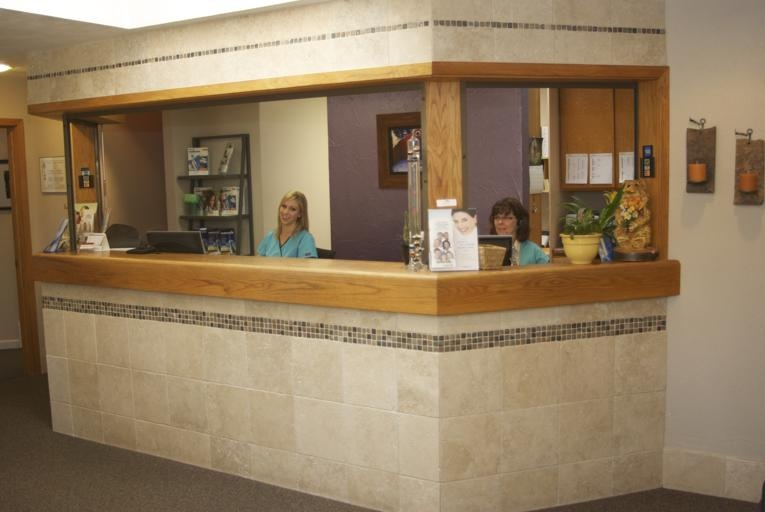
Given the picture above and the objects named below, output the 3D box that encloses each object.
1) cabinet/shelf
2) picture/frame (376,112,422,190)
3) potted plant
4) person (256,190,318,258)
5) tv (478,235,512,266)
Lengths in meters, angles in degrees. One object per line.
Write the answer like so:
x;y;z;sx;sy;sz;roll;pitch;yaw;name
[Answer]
-1.990;-0.737;7.407;0.957;1.393;0.365;6;14;32;cabinet/shelf
0.150;-1.096;6.446;0.437;0.776;0.205;-2;11;0;picture/frame
1.534;-0.225;4.555;0.390;0.527;0.463;3;13;22;potted plant
-0.876;-0.266;5.861;0.726;0.679;0.397;7;4;28;person
0.803;-0.040;4.436;0.282;0.259;0.191;1;0;1;tv
